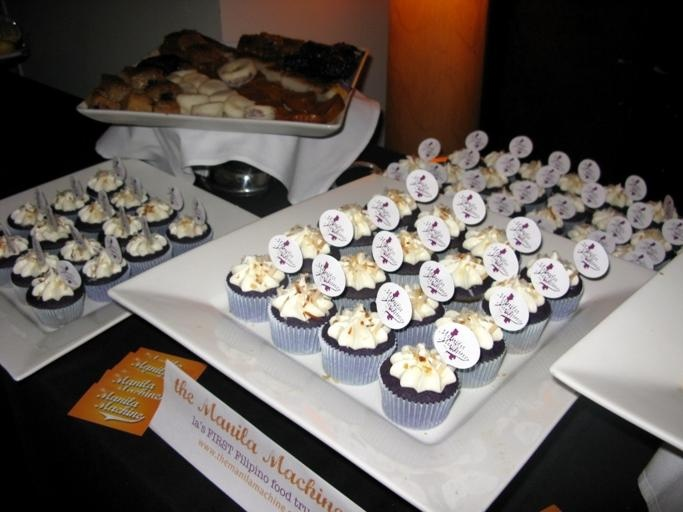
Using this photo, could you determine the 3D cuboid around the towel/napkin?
[{"bbox_3d":[-0.628,-0.691,3.362,1.172,0.291,0.966,11,56,7],"label":"towel/napkin"}]
